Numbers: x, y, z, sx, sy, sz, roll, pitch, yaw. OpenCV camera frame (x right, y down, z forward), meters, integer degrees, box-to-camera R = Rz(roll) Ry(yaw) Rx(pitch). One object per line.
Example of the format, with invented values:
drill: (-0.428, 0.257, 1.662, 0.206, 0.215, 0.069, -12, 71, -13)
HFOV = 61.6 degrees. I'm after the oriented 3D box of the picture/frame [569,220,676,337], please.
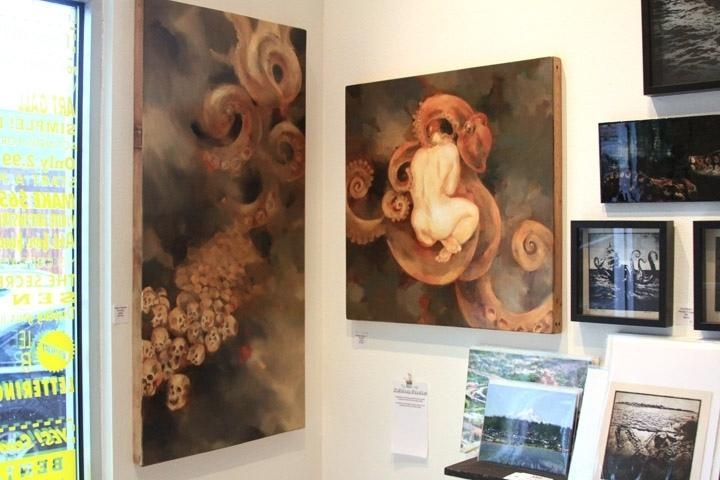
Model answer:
picture/frame: (1.035, 0.140, 2.348, 0.429, 0.528, 0.080, -1, -5, 31)
